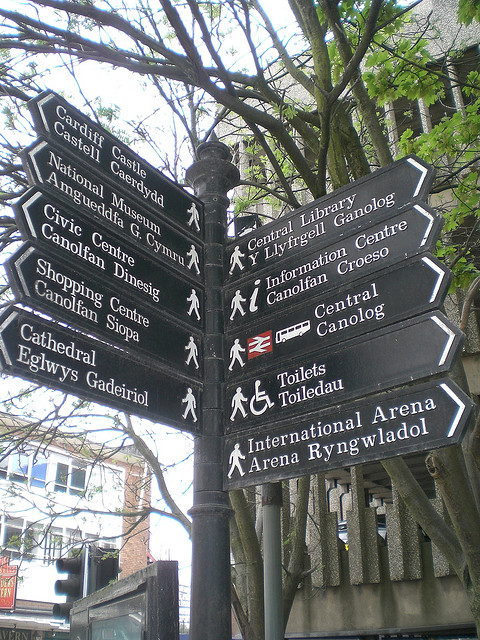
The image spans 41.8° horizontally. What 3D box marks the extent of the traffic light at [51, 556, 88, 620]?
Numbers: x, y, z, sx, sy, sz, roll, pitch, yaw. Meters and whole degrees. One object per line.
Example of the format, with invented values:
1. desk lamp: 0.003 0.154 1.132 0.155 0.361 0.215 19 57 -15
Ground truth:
1. traffic light: -1.194 1.864 4.571 0.264 0.178 0.502 16 10 -16
